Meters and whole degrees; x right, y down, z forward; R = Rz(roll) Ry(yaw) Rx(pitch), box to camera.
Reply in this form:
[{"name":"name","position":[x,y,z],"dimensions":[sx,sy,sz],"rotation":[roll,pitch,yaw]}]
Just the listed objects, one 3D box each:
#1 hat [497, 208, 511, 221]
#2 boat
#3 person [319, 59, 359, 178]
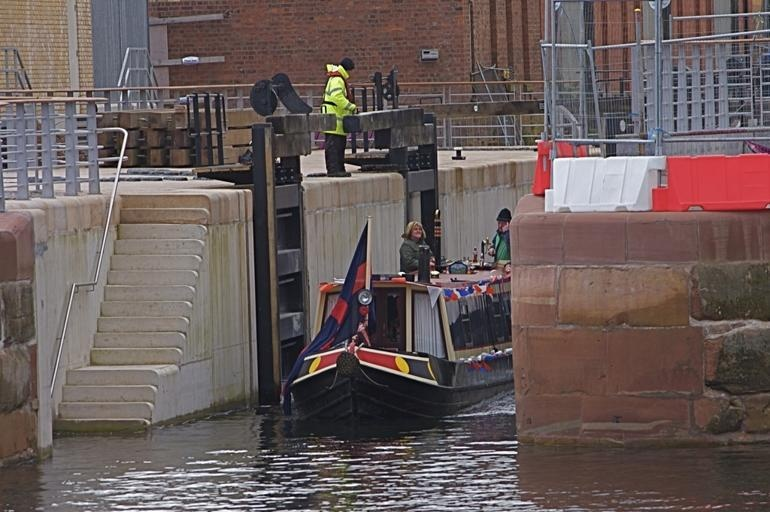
[{"name":"hat","position":[2.271,-0.756,42.130],"dimensions":[0.257,0.234,0.303],"rotation":[0,0,1]},{"name":"boat","position":[0.192,1.522,38.418],"dimensions":[1.993,2.730,5.992],"rotation":[3,7,19]},{"name":"person","position":[-0.897,-2.709,43.440],"dimensions":[0.658,2.353,1.562],"rotation":[-3,13,-1]}]
